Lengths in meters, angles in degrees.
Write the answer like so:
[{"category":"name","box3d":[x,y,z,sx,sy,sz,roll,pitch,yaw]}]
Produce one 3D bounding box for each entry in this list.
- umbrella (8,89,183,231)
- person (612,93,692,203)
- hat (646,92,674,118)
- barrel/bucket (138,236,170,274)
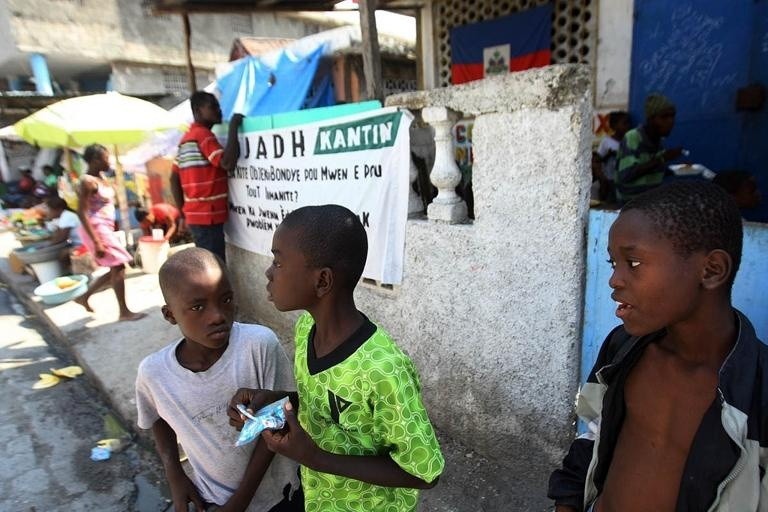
[{"category":"umbrella","box3d":[-4.421,-1.544,9.759,1.591,1.425,1.480,23,31,36]},{"category":"person","box3d":[2.790,-0.914,6.711,0.658,1.654,0.595,-3,28,11]},{"category":"hat","box3d":[2.785,-1.522,6.397,0.216,0.232,0.291,-2,18,1]},{"category":"barrel/bucket","box3d":[-3.182,-0.015,8.710,0.433,0.431,0.404,7,20,-3]}]
